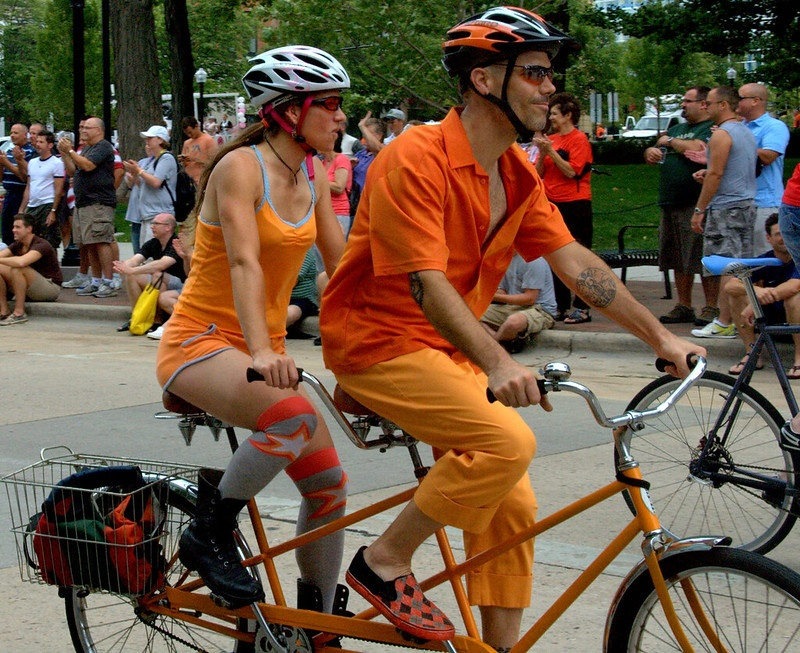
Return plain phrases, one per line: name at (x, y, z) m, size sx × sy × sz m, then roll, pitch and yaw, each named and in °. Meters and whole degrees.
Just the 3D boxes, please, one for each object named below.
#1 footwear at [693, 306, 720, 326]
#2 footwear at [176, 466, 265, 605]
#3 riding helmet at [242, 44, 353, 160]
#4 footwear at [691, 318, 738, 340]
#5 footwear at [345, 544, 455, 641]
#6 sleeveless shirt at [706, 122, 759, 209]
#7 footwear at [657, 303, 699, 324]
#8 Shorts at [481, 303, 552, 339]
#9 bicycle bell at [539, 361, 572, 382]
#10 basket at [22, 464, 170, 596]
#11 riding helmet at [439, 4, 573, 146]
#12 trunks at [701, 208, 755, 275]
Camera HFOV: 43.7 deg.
footwear at (3.033, -0.097, 9.814) m, size 0.142 × 0.111 × 0.362 m, roll -3°, pitch 1°, yaw 33°
footwear at (-0.603, 0.719, 3.366) m, size 0.230 × 0.470 × 0.231 m, roll -4°, pitch 10°, yaw -25°
riding helmet at (-0.398, -0.857, 3.712) m, size 0.516 × 0.335 × 0.340 m, roll -4°, pitch 5°, yaw 5°
footwear at (2.908, 0.037, 9.137) m, size 0.473 × 0.146 × 0.146 m, roll 1°, pitch -4°, yaw 15°
footwear at (0.008, 0.842, 3.126) m, size 0.422 × 0.133 × 0.173 m, roll 30°, pitch 18°, yaw 5°
sleeveless shirt at (3.092, -1.487, 9.290) m, size 0.466 × 0.640 × 0.620 m, roll 6°, pitch 18°, yaw 41°
footwear at (2.764, -0.120, 10.115) m, size 0.493 × 0.162 × 0.160 m, roll 0°, pitch 3°, yaw -7°
Shorts at (1.176, -0.098, 9.637) m, size 0.625 × 0.147 × 0.479 m, roll -7°, pitch 18°, yaw -18°
bicycle bell at (0.448, 0.125, 2.818) m, size 0.075 × 0.029 × 0.067 m, roll 2°, pitch -15°, yaw -9°
basket at (-1.062, 0.691, 3.533) m, size 0.526 × 0.279 × 0.353 m, roll 0°, pitch -24°, yaw -38°
riding helmet at (0.273, -0.816, 3.363) m, size 0.586 × 0.388 × 0.400 m, roll -7°, pitch 1°, yaw 16°
trunks at (3.122, -0.884, 9.342) m, size 0.579 × 0.553 × 0.405 m, roll -18°, pitch 17°, yaw -42°
